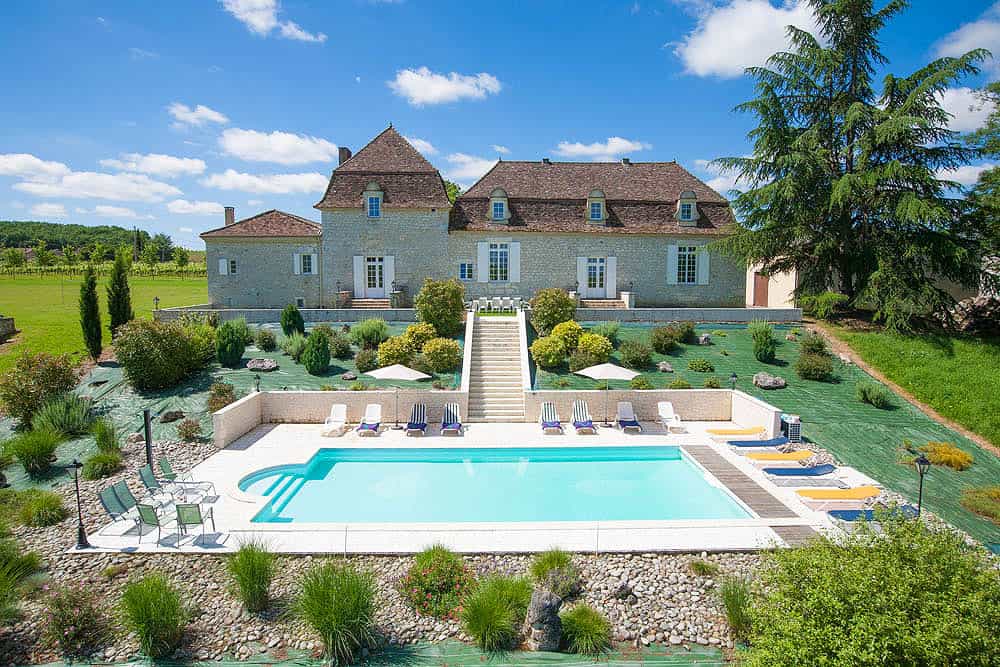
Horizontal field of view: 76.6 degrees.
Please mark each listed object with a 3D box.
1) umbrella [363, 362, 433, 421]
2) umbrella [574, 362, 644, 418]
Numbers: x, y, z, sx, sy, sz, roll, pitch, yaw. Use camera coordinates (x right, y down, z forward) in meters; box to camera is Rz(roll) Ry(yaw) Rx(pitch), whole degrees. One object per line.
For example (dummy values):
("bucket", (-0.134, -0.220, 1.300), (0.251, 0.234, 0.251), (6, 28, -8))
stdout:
("umbrella", (-3.983, 2.522, 25.131), (2.294, 2.101, 2.502), (0, 0, 9))
("umbrella", (4.191, 2.159, 25.146), (2.304, 2.067, 2.260), (1, -5, -4))
